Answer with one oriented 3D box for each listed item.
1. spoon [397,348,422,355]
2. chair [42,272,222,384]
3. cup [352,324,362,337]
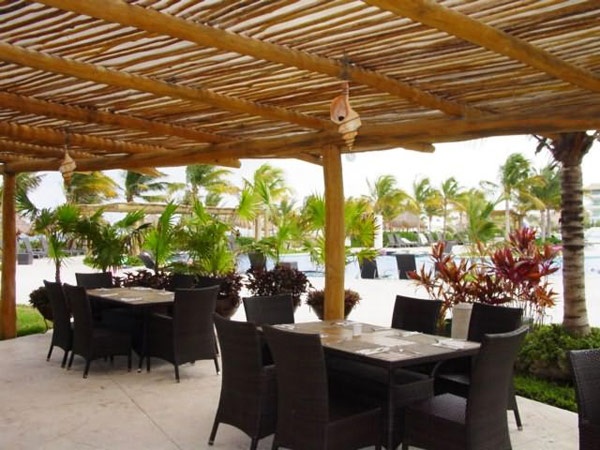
[{"bbox_3d":[0.793,0.926,3.051,0.149,0.014,0.192,0,0,8],"label":"spoon"},{"bbox_3d":[-2.037,1.330,5.659,1.035,1.150,2.158,-2,1,-44],"label":"chair"},{"bbox_3d":[0.512,0.925,3.679,0.085,0.127,0.081,0,4,0],"label":"cup"}]
